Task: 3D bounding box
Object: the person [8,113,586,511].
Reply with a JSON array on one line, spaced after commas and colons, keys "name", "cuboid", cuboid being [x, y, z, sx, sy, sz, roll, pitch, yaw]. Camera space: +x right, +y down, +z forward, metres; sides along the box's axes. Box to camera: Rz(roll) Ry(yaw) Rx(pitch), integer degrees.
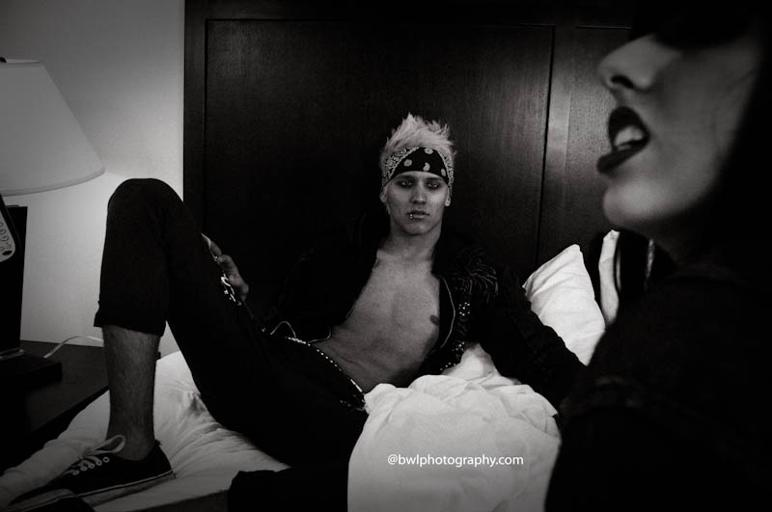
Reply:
[{"name": "person", "cuboid": [-0.285, 0.147, 1.872, 1.462, 0.952, 0.622, -18, 14, -16]}]
